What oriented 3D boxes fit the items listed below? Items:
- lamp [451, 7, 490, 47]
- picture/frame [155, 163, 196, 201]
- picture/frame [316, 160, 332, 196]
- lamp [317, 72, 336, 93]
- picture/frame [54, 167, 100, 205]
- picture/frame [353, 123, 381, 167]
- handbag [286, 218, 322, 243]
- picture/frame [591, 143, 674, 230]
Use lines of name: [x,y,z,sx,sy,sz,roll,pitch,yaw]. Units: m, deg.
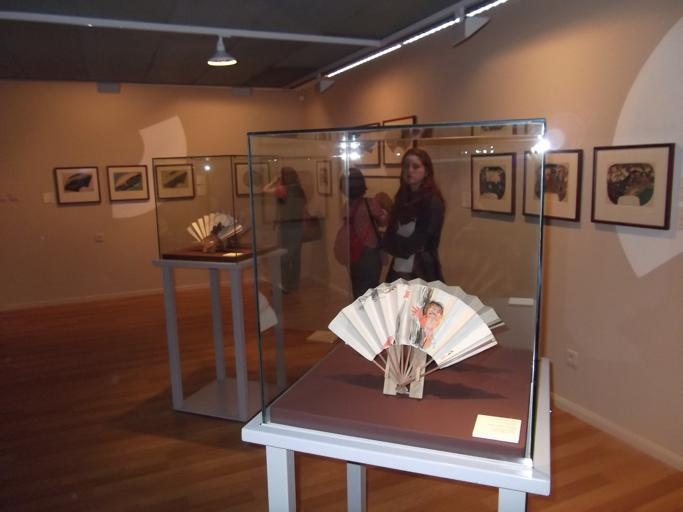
lamp: [0.878,-1.596,3.645,0.136,0.186,0.345,-6,13,-21]
picture/frame: [-0.984,-0.442,3.091,0.207,0.193,0.022,0,3,3]
picture/frame: [-0.060,-0.265,1.761,0.056,0.119,0.016,6,14,32]
lamp: [-0.161,-1.774,5.335,0.094,0.137,0.138,-10,30,-18]
picture/frame: [-2.531,-0.661,4.951,0.209,0.402,0.741,-3,13,-8]
picture/frame: [0.084,-0.359,1.709,0.080,0.136,0.151,-2,12,0]
handbag: [-0.138,-0.091,1.814,0.094,0.066,0.074,2,3,26]
picture/frame: [1.605,-0.385,2.835,0.035,0.535,0.447,-6,9,-38]
